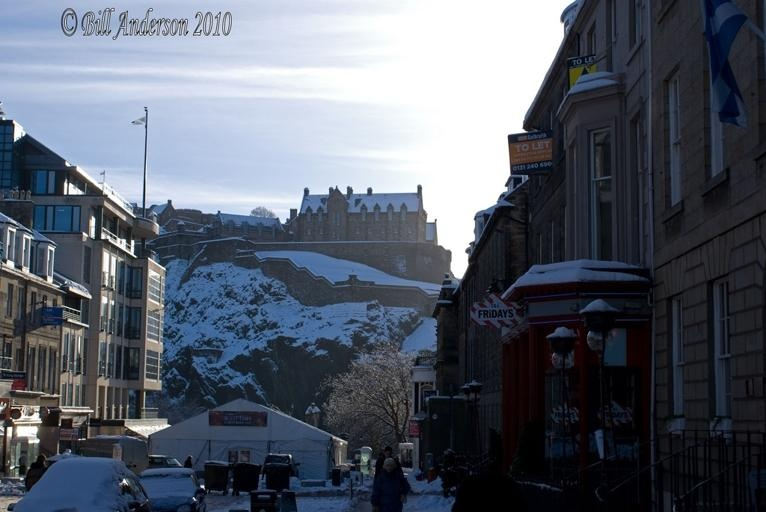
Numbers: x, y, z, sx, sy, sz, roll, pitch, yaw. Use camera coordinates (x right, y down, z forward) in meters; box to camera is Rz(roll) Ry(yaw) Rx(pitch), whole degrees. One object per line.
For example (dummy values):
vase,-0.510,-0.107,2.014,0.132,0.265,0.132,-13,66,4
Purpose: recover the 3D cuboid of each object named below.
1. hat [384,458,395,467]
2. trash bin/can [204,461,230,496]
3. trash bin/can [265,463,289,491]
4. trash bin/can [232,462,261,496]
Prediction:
hat,0.193,5.720,35.498,0.242,0.166,0.238,1,-1,-45
trash bin/can,-7.527,10.024,58.083,1.147,1.846,1.383,-1,-5,-7
trash bin/can,-4.587,9.505,55.352,1.313,1.388,1.438,-2,-13,6
trash bin/can,-6.035,9.838,56.636,1.128,1.380,1.144,3,-15,-10
